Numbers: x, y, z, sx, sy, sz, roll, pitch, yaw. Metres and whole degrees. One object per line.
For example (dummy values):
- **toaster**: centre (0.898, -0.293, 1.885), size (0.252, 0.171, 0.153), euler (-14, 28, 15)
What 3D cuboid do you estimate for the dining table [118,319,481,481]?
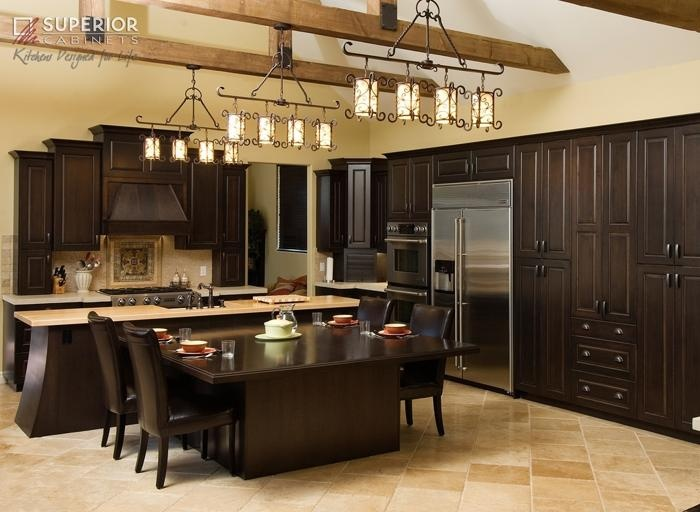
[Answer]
- **dining table**: centre (-0.370, 1.140, 4.235), size (1.558, 0.690, 1.783), euler (0, -2, -29)

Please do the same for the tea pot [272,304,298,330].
- **tea pot**: centre (-0.571, 0.557, 5.049), size (0.269, 0.269, 0.184), euler (-4, -4, 33)

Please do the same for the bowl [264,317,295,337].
- **bowl**: centre (-0.609, 0.638, 4.761), size (0.177, 0.128, 0.166), euler (0, 0, 0)

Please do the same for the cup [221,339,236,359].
- **cup**: centre (-0.916, 0.713, 4.112), size (0.106, 0.121, 0.130), euler (1, -6, -15)

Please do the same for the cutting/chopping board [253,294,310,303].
- **cutting/chopping board**: centre (-0.755, 0.490, 6.086), size (0.547, 0.047, 0.639), euler (2, 3, 24)

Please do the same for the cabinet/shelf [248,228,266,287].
- **cabinet/shelf**: centre (-2.085, 0.057, 11.950), size (0.310, 1.215, 0.581), euler (-1, 4, -29)

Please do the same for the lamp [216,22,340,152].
- **lamp**: centre (-0.571, -1.428, 4.623), size (1.138, 1.031, 0.252), euler (-2, 7, -28)

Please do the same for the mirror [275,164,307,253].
- **mirror**: centre (-1.175, -0.970, 10.960), size (0.324, 1.750, 1.185), euler (-1, 4, -23)

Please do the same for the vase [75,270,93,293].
- **vase**: centre (-3.453, 0.331, 7.047), size (0.174, 0.282, 0.290), euler (-1, 4, -29)

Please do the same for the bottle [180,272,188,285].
- **bottle**: centre (-2.390, 0.338, 7.884), size (0.104, 0.183, 0.110), euler (1, 3, 0)

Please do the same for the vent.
- **vent**: centre (-2.707, -0.655, 7.462), size (1.091, 0.667, 1.005), euler (0, 11, -14)

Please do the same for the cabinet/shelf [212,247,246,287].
- **cabinet/shelf**: centre (-1.759, 0.170, 7.921), size (0.442, 0.555, 0.222), euler (-1, 4, -20)

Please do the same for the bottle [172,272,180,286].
- **bottle**: centre (-2.499, 0.325, 7.824), size (0.105, 0.198, 0.131), euler (0, 3, -18)

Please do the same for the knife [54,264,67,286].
- **knife**: centre (-3.701, 0.265, 6.960), size (0.157, 0.266, 0.236), euler (-1, 4, -28)

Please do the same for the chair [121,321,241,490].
- **chair**: centre (-1.258, 1.098, 4.055), size (0.786, 1.180, 0.448), euler (0, 4, -18)

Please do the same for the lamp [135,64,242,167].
- **lamp**: centre (-1.579, -1.397, 5.403), size (1.139, 0.922, 0.303), euler (4, 13, -2)

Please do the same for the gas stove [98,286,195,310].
- **gas stove**: centre (-2.604, 0.556, 7.063), size (1.185, 0.222, 0.877), euler (0, 3, -11)
